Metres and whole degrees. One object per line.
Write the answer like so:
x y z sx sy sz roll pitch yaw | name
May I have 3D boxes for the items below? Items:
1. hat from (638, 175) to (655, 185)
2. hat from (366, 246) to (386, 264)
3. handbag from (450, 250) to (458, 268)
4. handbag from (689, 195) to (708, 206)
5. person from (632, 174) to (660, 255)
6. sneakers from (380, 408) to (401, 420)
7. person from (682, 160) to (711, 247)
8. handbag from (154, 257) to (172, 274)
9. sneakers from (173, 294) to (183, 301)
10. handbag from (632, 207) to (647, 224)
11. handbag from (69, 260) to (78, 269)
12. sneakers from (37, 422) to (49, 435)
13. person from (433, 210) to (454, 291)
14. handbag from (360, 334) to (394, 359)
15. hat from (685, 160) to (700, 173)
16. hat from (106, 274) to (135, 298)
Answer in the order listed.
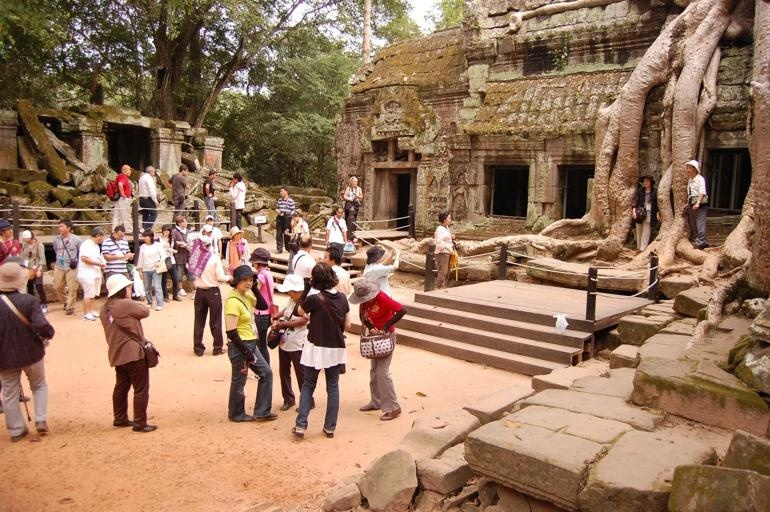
6.628 -1.935 14.804 0.275 0.110 0.344 12 -18 -35 | hat
-0.176 -0.015 9.391 0.282 0.091 0.272 -6 42 32 | hat
1.788 0.107 15.102 0.142 0.393 0.287 3 2 -8 | handbag
7.363 -1.307 13.648 0.278 0.214 0.272 -2 5 -41 | handbag
6.625 -1.062 14.736 0.620 1.877 0.470 9 16 37 | person
0.089 2.475 9.062 0.350 0.147 0.127 0 1 -39 | sneakers
7.427 -1.239 13.736 0.474 2.016 0.716 -2 13 -6 | person
-5.711 0.220 14.815 0.153 0.370 0.372 13 -13 35 | handbag
-5.655 1.150 15.698 0.261 0.180 0.113 -1 2 20 | sneakers
6.480 -1.048 14.722 0.193 0.360 0.367 -8 12 -39 | handbag
-7.694 0.195 14.221 0.153 0.283 0.166 14 12 28 | handbag
-5.068 2.540 8.528 0.106 0.107 0.246 -2 -2 -16 | sneakers
1.505 -0.118 14.706 0.518 2.153 1.436 1 13 6 | person
-0.146 1.376 8.839 0.574 0.339 0.409 -2 -8 7 | handbag
7.285 -2.157 13.671 0.359 0.164 0.395 7 3 21 | hat
-3.989 0.429 8.635 0.315 0.349 0.308 -6 14 -25 | hat
